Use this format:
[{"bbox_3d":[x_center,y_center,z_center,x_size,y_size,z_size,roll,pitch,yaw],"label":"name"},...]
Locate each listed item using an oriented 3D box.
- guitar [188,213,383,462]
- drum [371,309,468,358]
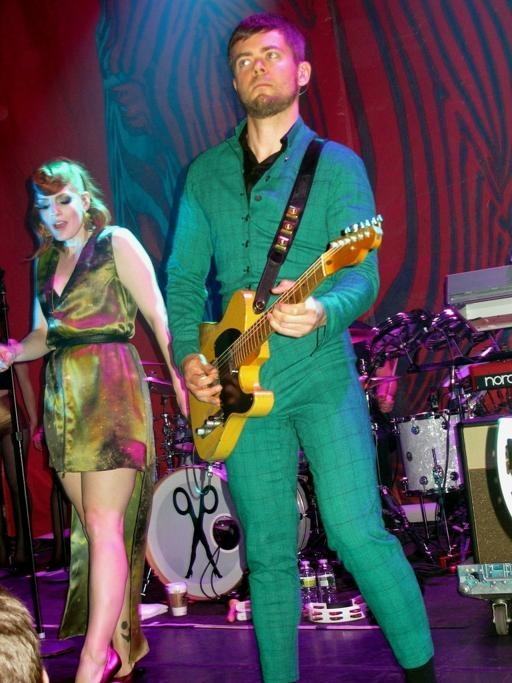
[{"bbox_3d":[0.033,0.050,1.634,0.344,0.523,0.883,-5,-8,-19],"label":"guitar"},{"bbox_3d":[1.201,-0.091,4.242,0.648,0.172,0.389,-2,-14,-36],"label":"drum"}]
